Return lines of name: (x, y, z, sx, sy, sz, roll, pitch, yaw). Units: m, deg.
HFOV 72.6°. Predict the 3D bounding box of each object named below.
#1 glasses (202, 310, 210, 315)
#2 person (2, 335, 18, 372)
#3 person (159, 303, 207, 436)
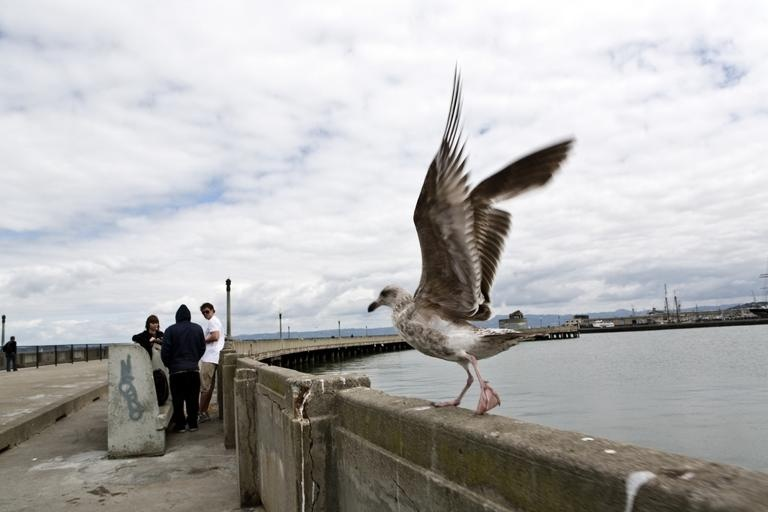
glasses: (-3.471, 1.107, 10.192, 0.093, 0.109, 0.061, -6, 0, 10)
person: (-16.494, 4.348, 23.089, 0.396, 1.444, 1.039, 1, -9, -37)
person: (-3.501, 1.965, 9.078, 0.719, 2.203, 0.885, 0, -8, -30)
